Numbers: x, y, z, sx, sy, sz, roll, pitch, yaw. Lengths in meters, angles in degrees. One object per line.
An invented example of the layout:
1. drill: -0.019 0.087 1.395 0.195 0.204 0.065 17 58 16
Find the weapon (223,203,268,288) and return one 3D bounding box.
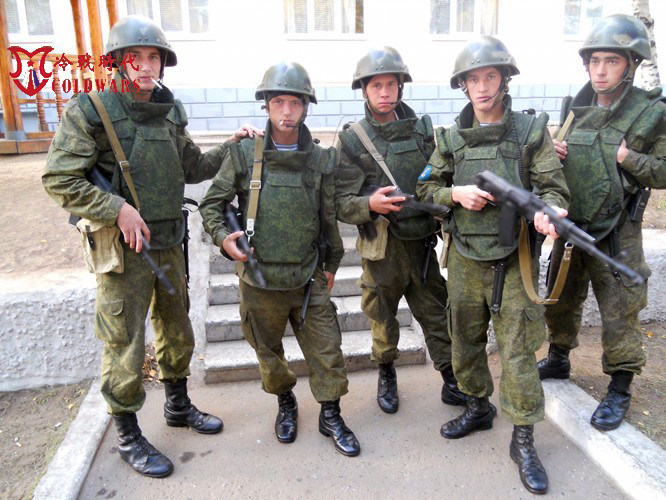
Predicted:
1. weapon: -0.622 -0.056 3.782 0.135 0.750 0.275 -18 -5 1

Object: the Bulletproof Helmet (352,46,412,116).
1. Bulletproof Helmet: 0.357 -1.359 4.242 0.470 0.500 0.526 -4 15 0

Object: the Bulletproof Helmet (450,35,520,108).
1. Bulletproof Helmet: 1.042 -1.296 3.761 0.399 0.347 0.417 -7 -3 -19

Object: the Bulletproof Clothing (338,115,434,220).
1. Bulletproof Clothing: 0.400 -0.612 4.052 0.762 0.766 0.413 -3 9 -14

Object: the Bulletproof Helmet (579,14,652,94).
1. Bulletproof Helmet: 2.083 -1.502 4.029 0.541 0.539 0.481 -14 9 -29

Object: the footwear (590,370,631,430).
1. footwear: 2.064 1.117 3.848 0.186 0.362 0.490 11 23 37

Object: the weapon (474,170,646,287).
1. weapon: 1.603 -0.181 3.668 1.020 0.305 0.139 41 65 18

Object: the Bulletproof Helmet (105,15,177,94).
1. Bulletproof Helmet: -1.321 -1.408 3.742 0.500 0.430 0.490 13 12 41

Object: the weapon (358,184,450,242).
1. weapon: 0.587 -0.241 3.729 0.842 0.247 0.083 -4 5 -42

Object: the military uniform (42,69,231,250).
1. military uniform: -1.448 -0.598 3.616 1.282 1.268 0.461 -23 24 -32

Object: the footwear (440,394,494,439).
1. footwear: 1.050 1.309 4.043 0.417 0.315 0.140 -9 39 -5

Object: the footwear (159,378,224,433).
1. footwear: -1.174 1.240 4.244 0.599 0.492 0.272 3 6 1

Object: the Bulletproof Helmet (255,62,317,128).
1. Bulletproof Helmet: -0.348 -1.192 3.952 0.503 0.475 0.525 1 14 -10
